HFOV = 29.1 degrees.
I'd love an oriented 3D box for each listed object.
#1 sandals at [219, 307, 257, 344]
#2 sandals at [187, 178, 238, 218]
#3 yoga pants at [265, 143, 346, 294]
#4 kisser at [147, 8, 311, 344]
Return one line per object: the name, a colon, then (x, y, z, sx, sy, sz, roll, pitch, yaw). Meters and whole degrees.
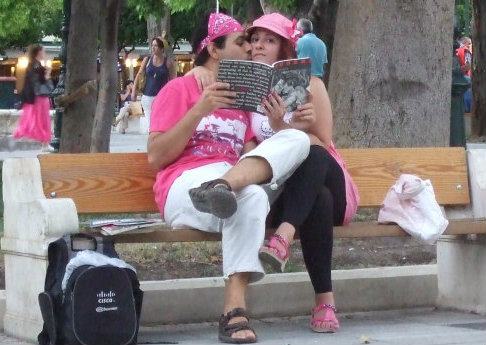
sandals: (-0.080, 1.204, 7.640, 0.299, 0.277, 0.441, -1, 5, -15)
sandals: (-0.249, 0.215, 7.643, 0.393, 0.326, 0.241, 1, 4, -3)
yoga pants: (0.549, 0.398, 8.190, 0.667, 1.185, 0.890, 5, 15, 1)
kisser: (-0.014, 0.154, 8.058, 1.317, 2.833, 1.479, -1, 16, -20)
